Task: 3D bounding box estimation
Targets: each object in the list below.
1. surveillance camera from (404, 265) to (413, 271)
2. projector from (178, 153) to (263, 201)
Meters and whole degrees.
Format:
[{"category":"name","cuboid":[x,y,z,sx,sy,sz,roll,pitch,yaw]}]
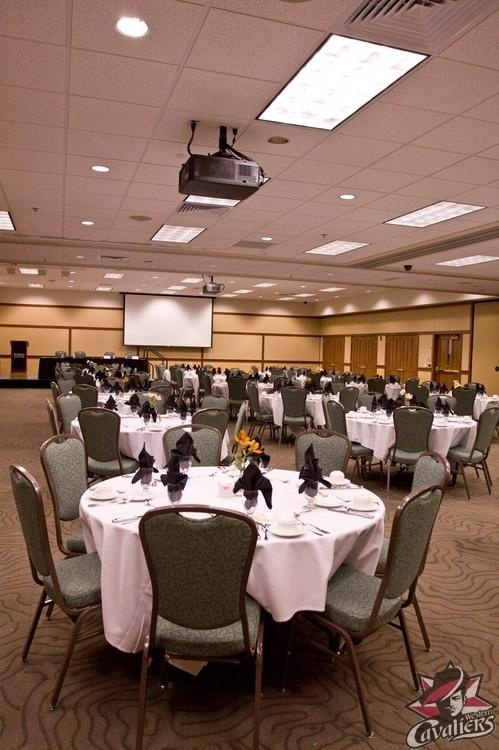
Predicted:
[{"category":"surveillance camera","cuboid":[3.205,-2.318,10.845,0.122,0.114,0.137,-1,-3,-3]},{"category":"projector","cuboid":[-0.201,-1.412,3.717,0.485,0.183,0.351,4,-4,-18]}]
